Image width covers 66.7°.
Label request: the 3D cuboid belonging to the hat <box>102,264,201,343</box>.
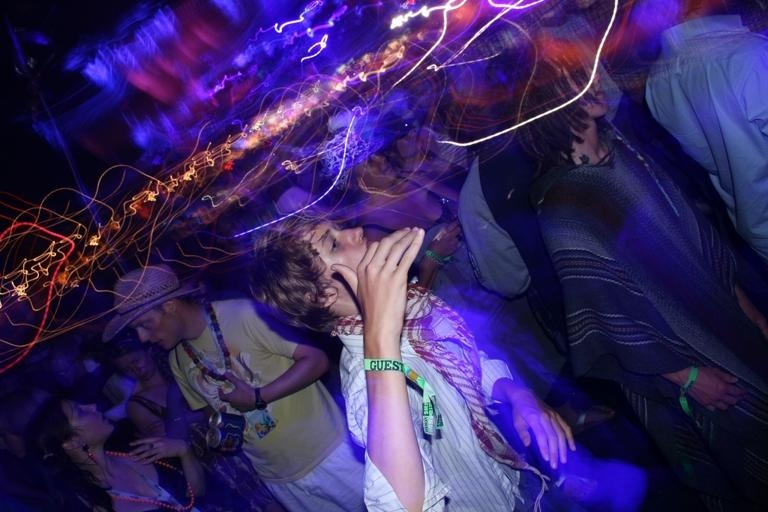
[{"bbox_3d":[-2.089,0.344,5.141,0.728,0.408,0.611,-26,0,-24],"label":"hat"}]
